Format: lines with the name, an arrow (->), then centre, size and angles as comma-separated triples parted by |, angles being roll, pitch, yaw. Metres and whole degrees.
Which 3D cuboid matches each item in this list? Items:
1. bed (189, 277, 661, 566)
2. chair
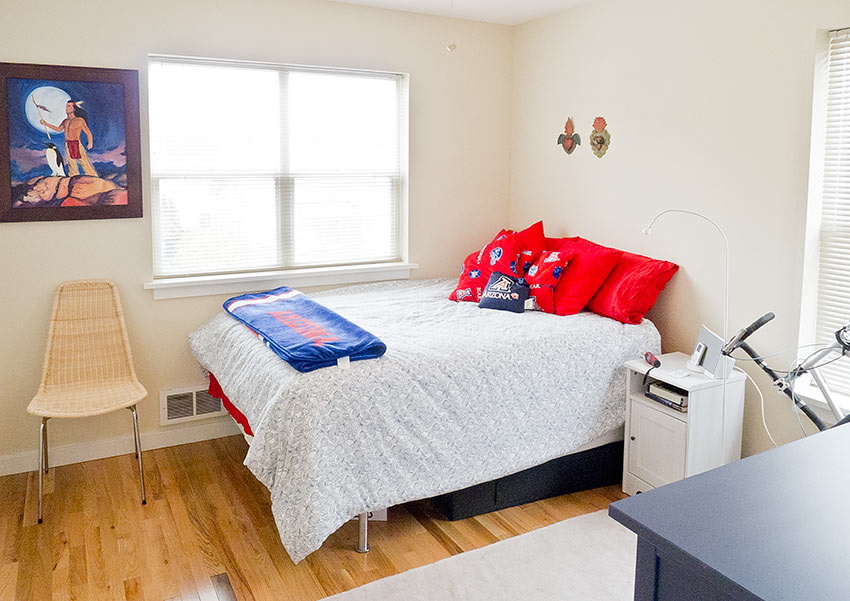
bed -> 0.027, 0.505, 3.238 | 1.730, 0.602, 1.555 | -11, 17, -28
chair -> -1.998, 0.535, 3.499 | 0.628, 1.135, 0.826 | -10, 21, -26
